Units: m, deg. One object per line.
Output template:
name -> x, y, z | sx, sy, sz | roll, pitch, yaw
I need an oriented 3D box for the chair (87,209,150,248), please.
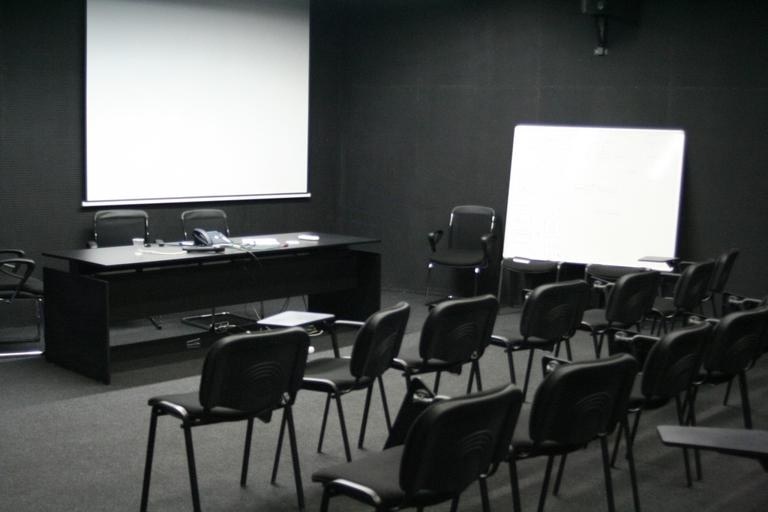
chair -> -2.933, -0.314, 6.473 | 0.545, 0.668, 0.552 | -2, 4, -24

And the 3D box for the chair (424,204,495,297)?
chair -> 1.026, -0.017, 7.559 | 0.878, 1.281, 1.200 | 3, 9, 7

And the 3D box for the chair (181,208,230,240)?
chair -> -2.065, -0.331, 6.683 | 0.427, 0.671, 0.472 | -2, 3, -24

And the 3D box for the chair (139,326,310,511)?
chair -> -0.845, 0.894, 3.073 | 0.773, 1.095, 0.454 | -4, 12, -33
